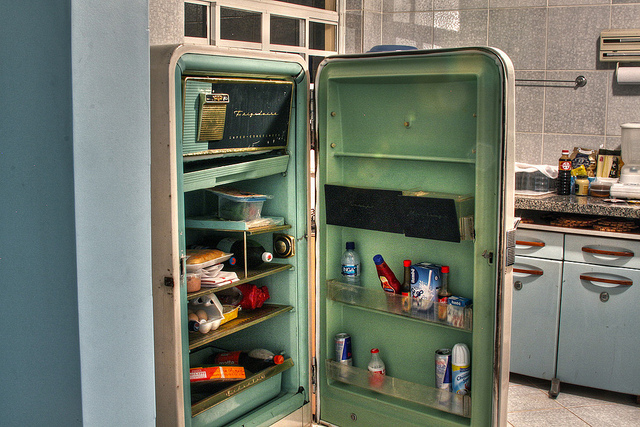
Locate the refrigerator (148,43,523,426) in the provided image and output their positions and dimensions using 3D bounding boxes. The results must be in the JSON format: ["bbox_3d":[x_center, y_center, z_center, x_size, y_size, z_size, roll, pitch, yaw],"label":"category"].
[{"bbox_3d":[0.055,0.186,2.325,1.365,1.709,0.729,2,9,-4],"label":"refrigerator"}]

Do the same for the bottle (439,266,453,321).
[{"bbox_3d":[0.519,0.320,2.254,0.052,0.219,0.092,5,10,14],"label":"bottle"}]

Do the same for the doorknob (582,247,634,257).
[{"bbox_3d":[1.532,0.205,2.912,0.241,0.028,0.019,6,10,24],"label":"doorknob"}]

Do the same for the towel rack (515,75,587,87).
[{"bbox_3d":[1.481,-0.853,3.514,0.421,0.073,0.027,8,11,30],"label":"towel rack"}]

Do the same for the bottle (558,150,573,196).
[{"bbox_3d":[1.498,-0.252,3.333,0.093,0.259,0.162,10,12,40],"label":"bottle"}]

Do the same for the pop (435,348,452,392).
[{"bbox_3d":[0.515,0.646,2.288,0.072,0.172,0.104,2,9,-1],"label":"pop"}]

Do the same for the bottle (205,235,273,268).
[{"bbox_3d":[-0.363,0.133,2.465,0.225,0.129,0.271,6,12,31],"label":"bottle"}]
